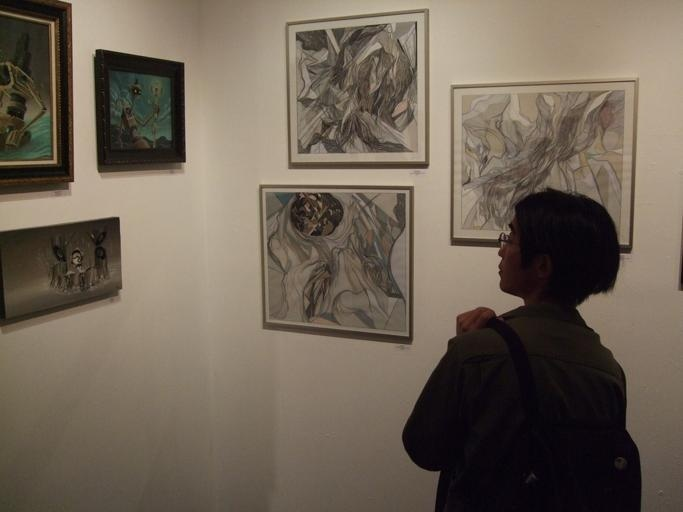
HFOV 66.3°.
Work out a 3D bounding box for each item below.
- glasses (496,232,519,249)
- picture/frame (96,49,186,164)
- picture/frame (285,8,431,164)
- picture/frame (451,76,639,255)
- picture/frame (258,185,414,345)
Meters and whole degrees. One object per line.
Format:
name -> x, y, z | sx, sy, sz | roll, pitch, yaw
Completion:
glasses -> 0.741, -0.070, 2.324 | 0.074, 0.030, 0.078 | -5, 17, -7
picture/frame -> -1.240, -0.917, 3.179 | 0.064, 0.676, 0.651 | 4, 9, 28
picture/frame -> 0.141, -1.095, 3.301 | 0.813, 0.962, 0.043 | 4, 14, 20
picture/frame -> 1.144, -0.544, 2.834 | 0.868, 0.932, 0.034 | 2, 8, 20
picture/frame -> 0.005, 0.030, 3.467 | 0.864, 0.997, 0.042 | 3, 7, 18
